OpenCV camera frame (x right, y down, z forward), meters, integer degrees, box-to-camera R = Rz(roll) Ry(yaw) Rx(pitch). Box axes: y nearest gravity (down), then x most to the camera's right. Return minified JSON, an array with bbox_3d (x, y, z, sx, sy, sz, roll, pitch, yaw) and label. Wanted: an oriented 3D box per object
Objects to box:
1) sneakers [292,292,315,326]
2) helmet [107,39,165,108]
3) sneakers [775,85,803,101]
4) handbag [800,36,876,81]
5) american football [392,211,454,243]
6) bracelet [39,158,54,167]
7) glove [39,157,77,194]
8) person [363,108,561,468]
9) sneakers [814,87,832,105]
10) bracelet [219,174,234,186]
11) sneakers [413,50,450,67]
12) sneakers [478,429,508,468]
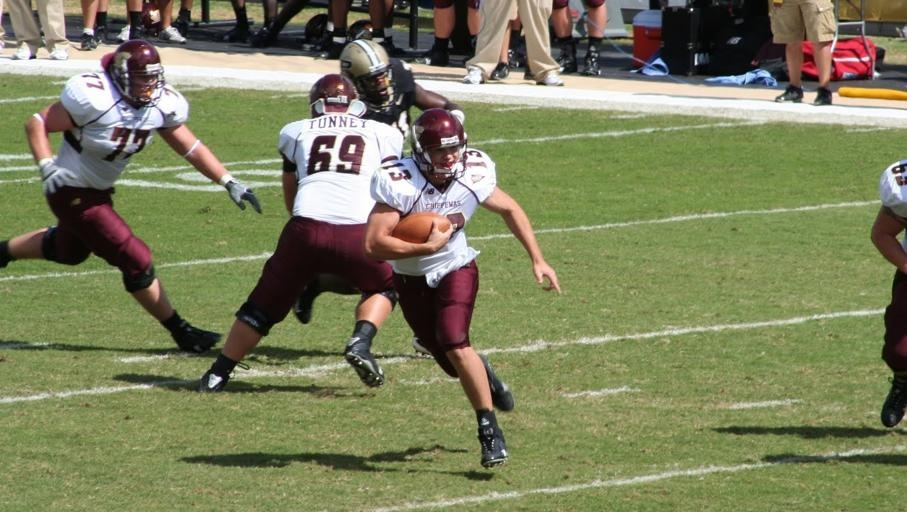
[{"bbox_3d":[-1.234,0.426,10.740,0.155,0.314,0.150,15,14,-10],"label":"sneakers"},{"bbox_3d":[-2.553,-1.487,10.341,0.461,0.537,0.265,-3,11,-12],"label":"helmet"},{"bbox_3d":[4.274,-2.099,16.364,0.374,0.226,0.221,-1,10,-3],"label":"sneakers"},{"bbox_3d":[5.553,-2.848,18.506,1.164,0.366,0.982,-1,15,1],"label":"handbag"},{"bbox_3d":[-0.233,-0.222,9.308,0.402,0.181,0.212,-11,9,-7],"label":"american football"},{"bbox_3d":[-3.226,-0.764,10.255,0.094,0.073,0.080,-8,45,-23],"label":"bracelet"},{"bbox_3d":[-3.146,-0.647,10.283,0.239,0.293,0.218,4,11,24],"label":"glove"},{"bbox_3d":[0.033,0.208,9.537,1.096,2.599,0.805,4,12,23],"label":"person"},{"bbox_3d":[4.620,-2.029,16.090,0.204,0.225,0.227,2,10,14],"label":"sneakers"},{"bbox_3d":[-1.873,-0.639,10.714,0.095,0.101,0.094,12,46,-19],"label":"bracelet"},{"bbox_3d":[-0.344,-2.987,19.163,0.633,0.196,0.184,5,7,3],"label":"sneakers"},{"bbox_3d":[0.287,1.406,9.323,0.205,0.312,0.221,0,10,2],"label":"sneakers"}]
